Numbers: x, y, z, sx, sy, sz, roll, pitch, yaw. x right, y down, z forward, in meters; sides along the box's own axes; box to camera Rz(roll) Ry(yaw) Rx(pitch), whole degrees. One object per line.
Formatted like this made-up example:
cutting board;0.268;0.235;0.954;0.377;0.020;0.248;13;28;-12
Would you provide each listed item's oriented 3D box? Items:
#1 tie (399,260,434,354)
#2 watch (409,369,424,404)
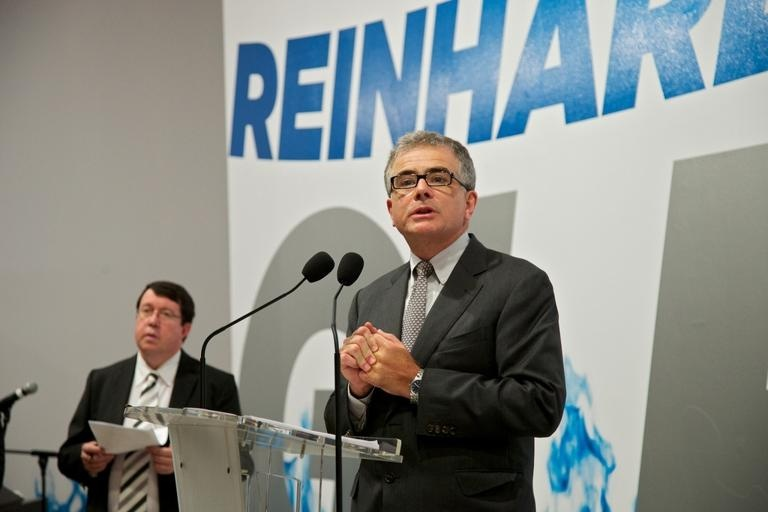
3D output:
tie;0.160;0.204;3.109;0.093;0.517;0.067;8;-36;12
watch;0.139;0.570;2.844;0.068;0.125;0.118;17;-5;-1
